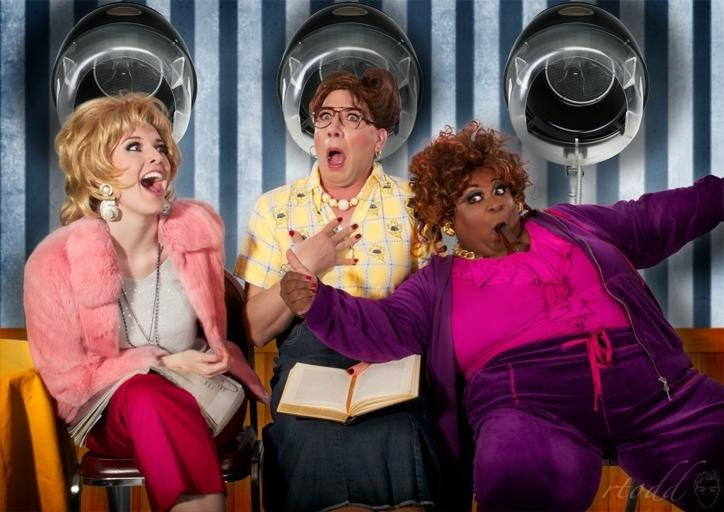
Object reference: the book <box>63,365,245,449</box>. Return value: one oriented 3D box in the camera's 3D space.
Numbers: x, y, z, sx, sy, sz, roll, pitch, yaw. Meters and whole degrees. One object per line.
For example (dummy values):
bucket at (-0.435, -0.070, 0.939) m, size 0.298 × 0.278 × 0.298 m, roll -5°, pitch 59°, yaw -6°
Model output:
book at (-0.586, 0.405, 2.655) m, size 0.348 × 0.126 × 0.281 m, roll 3°, pitch 10°, yaw 1°
